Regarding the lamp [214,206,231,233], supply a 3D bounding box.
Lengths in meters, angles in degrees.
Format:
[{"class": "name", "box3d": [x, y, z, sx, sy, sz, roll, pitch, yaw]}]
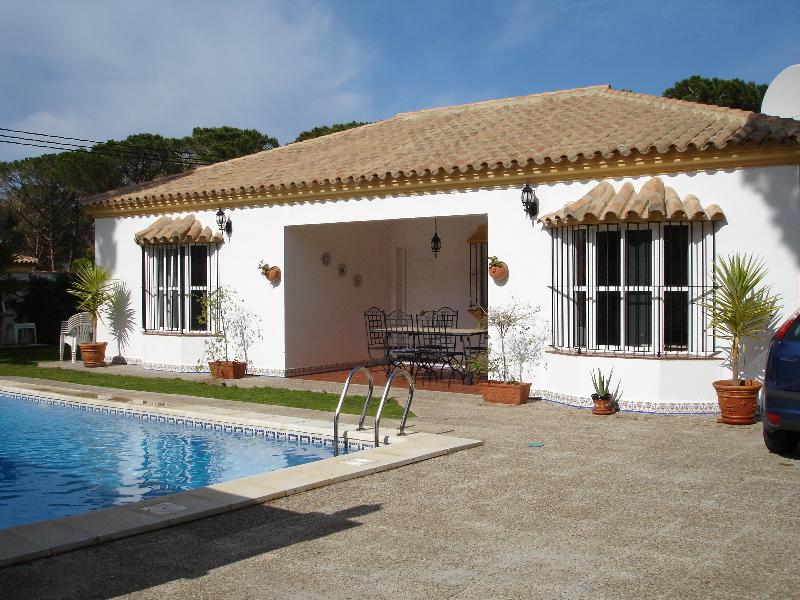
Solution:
[{"class": "lamp", "box3d": [-4.073, -1.779, 15.858, 0.424, 0.629, 0.287, 2, 4, 38]}]

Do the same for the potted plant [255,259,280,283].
[{"class": "potted plant", "box3d": [-2.873, -0.618, 15.152, 0.547, 0.309, 0.195, 37, -1, 3]}]

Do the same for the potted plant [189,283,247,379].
[{"class": "potted plant", "box3d": [-4.076, 0.718, 15.739, 1.555, 1.967, 0.659, 2, 4, 38]}]

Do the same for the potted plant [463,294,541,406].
[{"class": "potted plant", "box3d": [2.014, 0.881, 12.389, 1.187, 1.828, 0.898, 1, 3, 23]}]

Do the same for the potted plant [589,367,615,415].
[{"class": "potted plant", "box3d": [3.290, 1.484, 11.189, 0.312, 0.714, 0.367, -1, 0, 13]}]

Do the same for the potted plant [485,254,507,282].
[{"class": "potted plant", "box3d": [1.827, -0.557, 12.662, 0.376, 0.506, 0.217, 1, 3, 19]}]

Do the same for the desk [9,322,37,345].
[{"class": "desk", "box3d": [-12.374, 1.000, 22.849, 0.629, 0.940, 0.876, -6, -6, 39]}]

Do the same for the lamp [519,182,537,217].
[{"class": "lamp", "box3d": [2.311, -1.758, 12.343, 0.336, 0.619, 0.217, 1, 3, 23]}]

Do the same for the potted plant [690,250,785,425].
[{"class": "potted plant", "box3d": [5.207, 0.566, 10.538, 1.097, 2.687, 1.171, 2, 1, 21]}]
